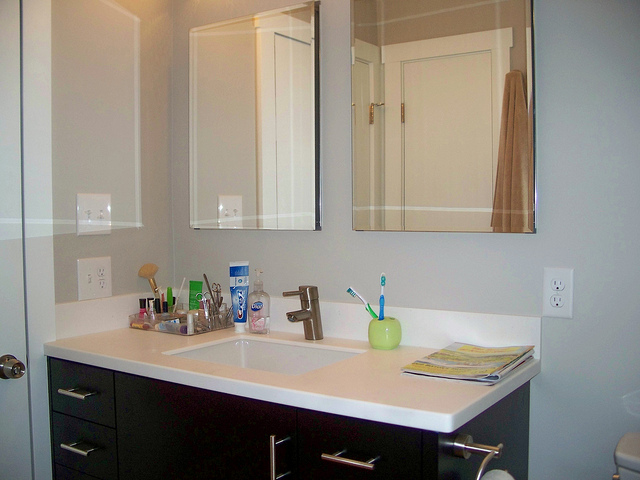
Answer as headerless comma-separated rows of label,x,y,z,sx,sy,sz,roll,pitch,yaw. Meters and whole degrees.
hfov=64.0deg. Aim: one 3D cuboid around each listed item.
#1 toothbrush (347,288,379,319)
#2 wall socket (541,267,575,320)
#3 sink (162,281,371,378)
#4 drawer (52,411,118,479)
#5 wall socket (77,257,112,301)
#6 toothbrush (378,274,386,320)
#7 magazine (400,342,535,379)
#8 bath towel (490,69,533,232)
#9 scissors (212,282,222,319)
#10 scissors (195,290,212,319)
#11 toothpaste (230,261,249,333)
toothbrush,0.152,0.222,1.874,0.096,0.102,0.195,-3,3,-3
wall socket,0.767,0.171,1.650,0.090,0.172,0.017,1,12,24
sink,-0.156,0.284,1.949,0.359,0.225,0.517,-1,-3,37
drawer,-0.815,0.728,1.840,0.280,0.196,0.186,2,-1,32
wall socket,-0.924,0.157,2.089,0.013,0.204,0.163,2,4,38
toothbrush,0.225,0.194,1.839,0.025,0.154,0.157,-2,3,10
magazine,0.462,0.368,1.575,0.257,0.029,0.398,0,4,43
bath towel,0.626,-0.291,1.676,0.132,0.522,0.020,-1,3,30
scissors,-0.441,0.255,2.193,0.042,0.140,0.007,7,-34,-20
scissors,-0.487,0.264,2.160,0.052,0.006,0.126,-26,31,-1
toothpaste,-0.312,0.226,2.115,0.072,0.279,0.139,-1,3,26
